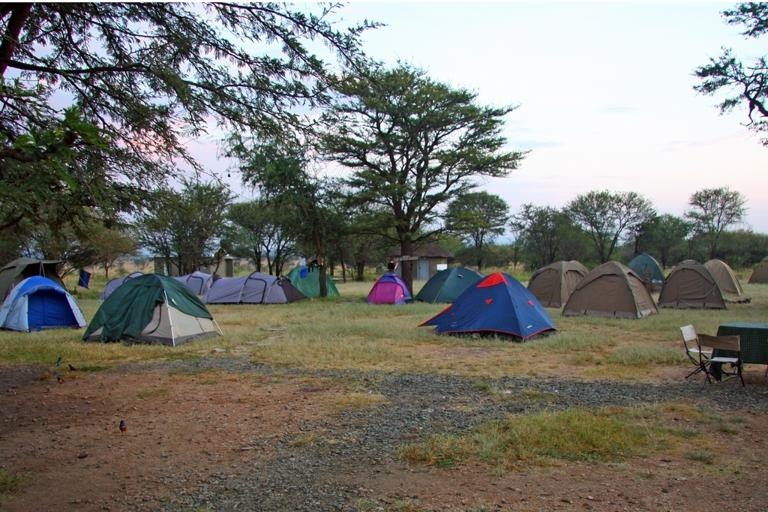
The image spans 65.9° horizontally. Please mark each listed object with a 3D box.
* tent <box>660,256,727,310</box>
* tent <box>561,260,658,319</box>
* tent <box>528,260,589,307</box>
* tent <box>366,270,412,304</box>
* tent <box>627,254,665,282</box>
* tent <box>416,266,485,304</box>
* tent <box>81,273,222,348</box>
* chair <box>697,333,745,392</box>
[{"bbox_3d":[12.474,1.315,24.067,2.130,1.448,2.154,1,7,39],"label":"tent"},{"bbox_3d":[8.319,1.330,21.859,2.474,1.643,2.416,-1,1,30],"label":"tent"},{"bbox_3d":[7.654,1.087,25.666,2.150,1.413,2.108,-6,6,-42],"label":"tent"},{"bbox_3d":[0.278,1.641,30.850,2.078,1.274,2.588,-1,-3,3],"label":"tent"},{"bbox_3d":[15.022,0.723,34.057,2.211,1.632,2.192,0,2,4],"label":"tent"},{"bbox_3d":[3.368,1.355,27.930,2.089,0.924,2.037,-1,2,-30],"label":"tent"},{"bbox_3d":[-6.496,1.697,17.091,2.495,1.347,2.429,0,-1,37],"label":"tent"},{"bbox_3d":[7.281,2.197,12.646,0.856,1.243,0.914,-3,6,33],"label":"chair"}]
